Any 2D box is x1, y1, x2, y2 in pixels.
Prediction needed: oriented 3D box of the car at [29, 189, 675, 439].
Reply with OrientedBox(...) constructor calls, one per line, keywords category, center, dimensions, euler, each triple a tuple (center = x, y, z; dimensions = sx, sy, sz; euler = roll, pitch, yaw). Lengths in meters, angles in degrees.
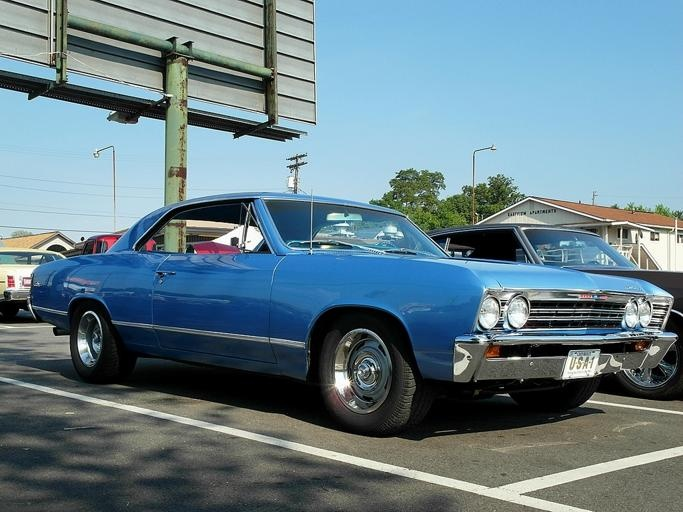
OrientedBox(category="car", center=(-0.469, 0.477, 6.019), dimensions=(5.496, 1.220, 2.450), euler=(-1, -2, 34))
